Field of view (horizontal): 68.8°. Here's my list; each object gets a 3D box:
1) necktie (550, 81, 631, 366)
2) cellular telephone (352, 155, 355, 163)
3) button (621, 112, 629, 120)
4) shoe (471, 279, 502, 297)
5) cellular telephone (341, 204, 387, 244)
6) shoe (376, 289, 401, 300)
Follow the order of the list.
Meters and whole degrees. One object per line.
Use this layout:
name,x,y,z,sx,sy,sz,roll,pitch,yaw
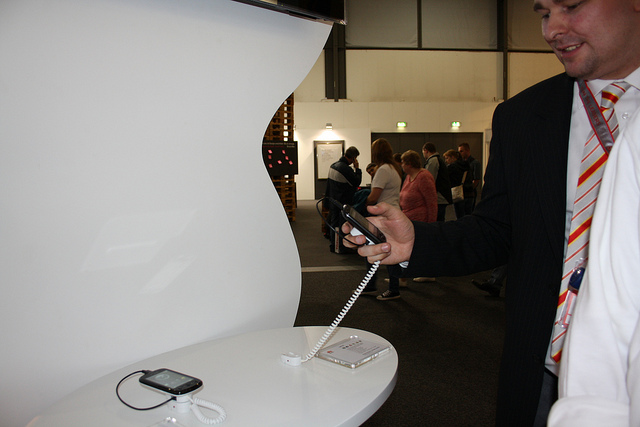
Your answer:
necktie,0.820,0.036,1.437,0.210,0.876,0.131,-6,9,-41
cellular telephone,0.540,-0.902,7.582,0.030,0.106,0.068,-1,8,-17
button,0.912,-0.295,1.401,0.014,0.022,0.007,13,-10,23
shoe,1.711,0.743,4.839,0.281,0.134,0.096,27,28,30
cellular telephone,0.137,0.051,1.580,0.167,0.029,0.096,43,19,-5
shoe,0.695,0.820,4.751,0.237,0.111,0.094,0,-3,-11
